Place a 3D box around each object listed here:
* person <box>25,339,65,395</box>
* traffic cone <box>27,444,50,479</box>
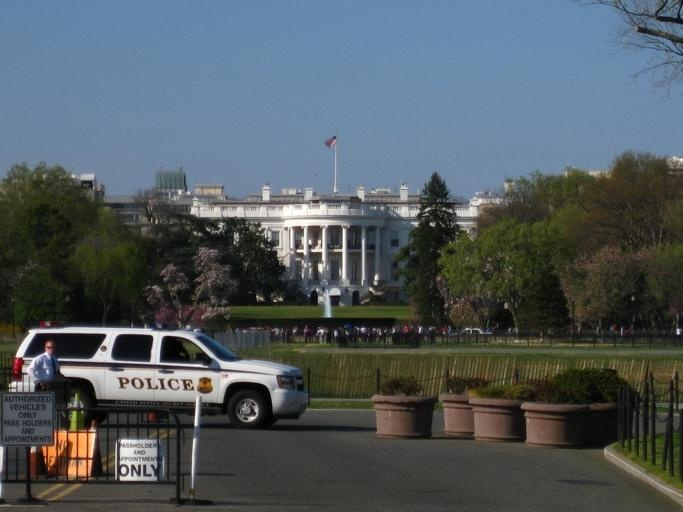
[{"bbox_3d":[-10.199,3.865,57.267,1.009,1.936,1.009,3,2,16],"label":"person"},{"bbox_3d":[-9.568,6.629,53.639,0.826,1.244,0.900,1,-6,-14],"label":"traffic cone"}]
